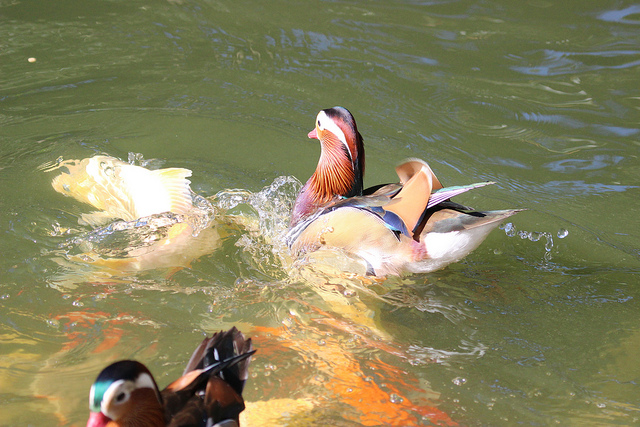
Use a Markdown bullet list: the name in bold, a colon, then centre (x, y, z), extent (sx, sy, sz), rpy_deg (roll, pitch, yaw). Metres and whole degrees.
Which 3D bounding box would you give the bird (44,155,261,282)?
- **bird**: centre (-1.521, -0.045, 5.660), extent (1.848, 0.513, 1.232), rpy_deg (-3, 19, 7)

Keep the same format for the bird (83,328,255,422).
- **bird**: centre (-0.854, 0.958, 3.843), extent (0.851, 0.382, 0.634), rpy_deg (6, 56, -2)
